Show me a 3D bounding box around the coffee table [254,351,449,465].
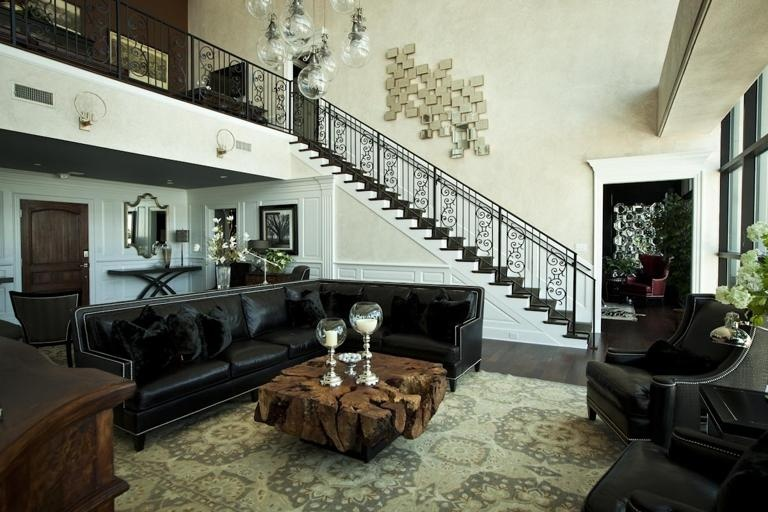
[{"bbox_3d":[-0.271,1.468,4.666,1.510,0.745,1.077,0,2,20],"label":"coffee table"}]

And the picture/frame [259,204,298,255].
[{"bbox_3d":[-2.131,-0.526,9.965,1.045,1.087,0.088,2,5,31],"label":"picture/frame"}]

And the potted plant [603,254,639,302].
[{"bbox_3d":[5.505,0.540,11.617,0.989,1.169,0.848,4,-5,-39],"label":"potted plant"}]

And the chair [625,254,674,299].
[{"bbox_3d":[5.727,0.521,10.749,0.885,1.069,0.909,2,2,10],"label":"chair"}]
